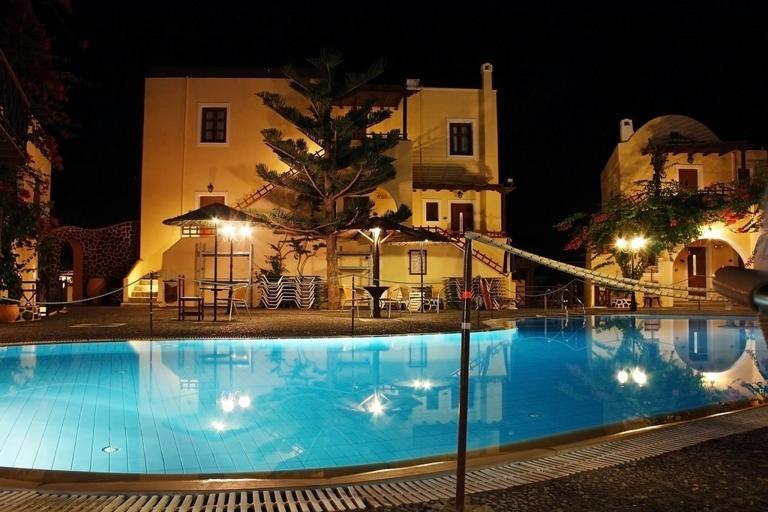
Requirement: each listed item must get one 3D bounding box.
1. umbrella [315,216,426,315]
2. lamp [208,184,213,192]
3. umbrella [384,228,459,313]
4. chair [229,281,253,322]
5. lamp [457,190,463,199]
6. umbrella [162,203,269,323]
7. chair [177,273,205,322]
[{"bbox_3d":[-0.119,0.214,20.694,3.308,2.947,3.314,1,-6,0],"label":"umbrella"},{"bbox_3d":[-6.831,-2.749,24.644,0.203,0.272,0.157,1,-4,-6],"label":"lamp"},{"bbox_3d":[1.272,0.389,23.115,2.656,3.042,2.677,-8,-10,8],"label":"umbrella"},{"bbox_3d":[-4.651,1.465,20.256,0.886,1.268,1.017,6,-8,-36],"label":"chair"},{"bbox_3d":[3.233,-2.671,26.646,0.332,0.327,0.273,1,-4,1],"label":"lamp"},{"bbox_3d":[-5.152,-0.397,19.079,2.577,2.889,2.568,-4,19,-19],"label":"umbrella"},{"bbox_3d":[-5.577,1.192,18.086,0.778,1.224,0.751,0,-2,9],"label":"chair"}]
